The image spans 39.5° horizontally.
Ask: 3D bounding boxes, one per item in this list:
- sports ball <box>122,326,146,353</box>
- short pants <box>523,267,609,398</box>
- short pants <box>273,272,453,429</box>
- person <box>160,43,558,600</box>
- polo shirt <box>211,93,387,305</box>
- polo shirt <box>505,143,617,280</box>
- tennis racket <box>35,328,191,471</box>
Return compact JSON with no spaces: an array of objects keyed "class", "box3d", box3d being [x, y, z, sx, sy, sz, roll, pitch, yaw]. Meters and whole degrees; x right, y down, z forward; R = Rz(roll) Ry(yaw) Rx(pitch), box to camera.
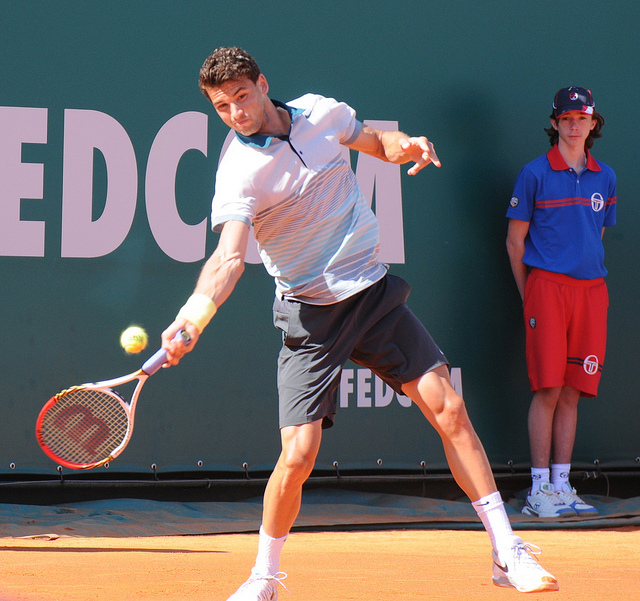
[{"class":"sports ball","box3d":[-0.787,0.171,3.801,0.092,0.103,0.117,14,-13,2]},{"class":"short pants","box3d":[1.458,0.179,5.280,0.470,0.739,0.141,-3,0,-13]},{"class":"short pants","box3d":[0.127,0.178,3.757,0.756,0.613,0.325,-17,-2,-20]},{"class":"person","box3d":[0.040,0.108,3.623,1.359,2.226,0.557,-3,0,-12]},{"class":"polo shirt","box3d":[-0.075,-0.418,3.700,0.837,0.773,0.400,-37,28,-29]},{"class":"polo shirt","box3d":[1.402,-0.526,5.315,0.682,0.871,0.425,4,-6,-18]},{"class":"tennis racket","box3d":[-0.861,0.300,3.583,0.394,1.053,0.133,15,30,-25]}]
